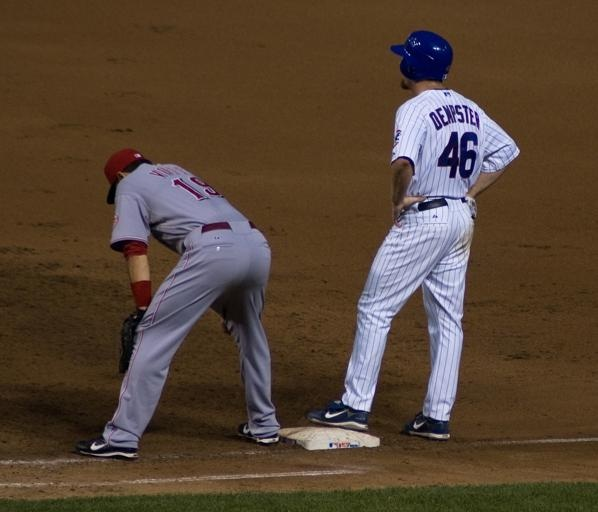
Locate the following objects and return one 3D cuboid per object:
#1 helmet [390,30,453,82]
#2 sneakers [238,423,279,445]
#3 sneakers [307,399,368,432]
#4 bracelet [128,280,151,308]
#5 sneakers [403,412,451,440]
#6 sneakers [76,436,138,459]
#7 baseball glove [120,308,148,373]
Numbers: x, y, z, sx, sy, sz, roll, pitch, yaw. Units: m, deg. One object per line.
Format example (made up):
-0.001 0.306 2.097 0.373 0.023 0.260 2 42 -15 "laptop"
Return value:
1.185 -1.996 15.131 0.603 0.379 0.464 29 37 13 "helmet"
-0.418 1.755 15.059 0.449 0.180 0.164 20 30 33 "sneakers"
0.405 1.606 15.233 0.638 0.250 0.236 7 -9 17 "sneakers"
-1.501 0.364 14.546 0.209 0.271 0.195 10 -10 -5 "bracelet"
1.273 1.706 15.256 0.510 0.245 0.194 7 6 35 "sneakers"
-1.814 1.814 14.602 0.592 0.228 0.223 5 -2 7 "sneakers"
-1.611 0.819 14.670 0.290 0.608 0.214 7 11 -10 "baseball glove"
